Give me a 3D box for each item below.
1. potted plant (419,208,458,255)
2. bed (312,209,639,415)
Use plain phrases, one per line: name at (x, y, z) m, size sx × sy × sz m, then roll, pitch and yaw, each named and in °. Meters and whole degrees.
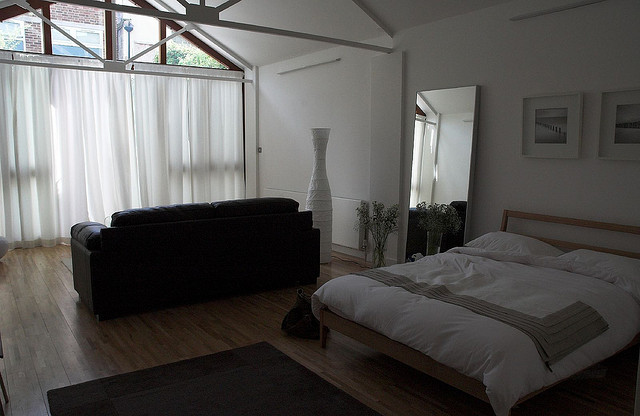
potted plant at (1.620, 0.298, 5.583) m, size 0.579 × 0.624 × 0.532 m, roll 2°, pitch 5°, yaw 23°
bed at (1.886, 0.828, 3.845) m, size 2.442 × 0.998 × 1.855 m, roll -9°, pitch 13°, yaw -35°
